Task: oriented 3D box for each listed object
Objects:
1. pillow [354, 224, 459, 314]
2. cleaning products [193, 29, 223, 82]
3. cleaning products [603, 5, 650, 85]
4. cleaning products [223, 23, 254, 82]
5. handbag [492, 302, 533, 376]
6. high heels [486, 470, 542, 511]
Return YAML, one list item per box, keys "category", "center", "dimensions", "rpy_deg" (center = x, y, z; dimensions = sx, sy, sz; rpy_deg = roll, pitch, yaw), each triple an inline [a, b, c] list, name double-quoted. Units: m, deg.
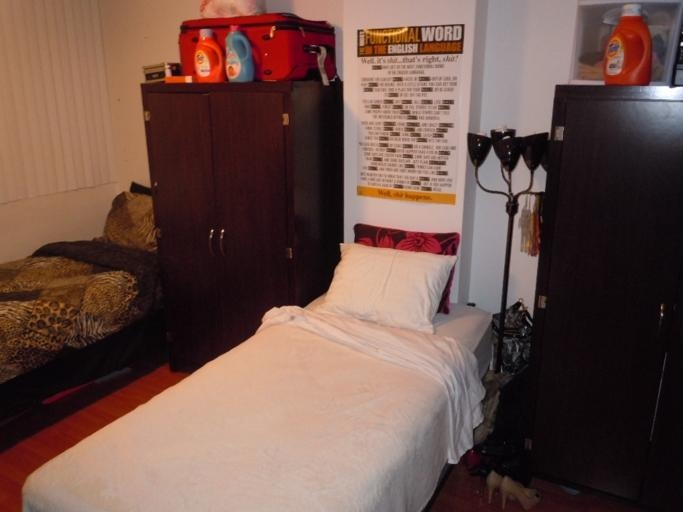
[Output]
- category: "pillow"
  center: [0.388, 0.088, 2.956]
  dimensions: [0.447, 0.350, 0.163]
  rpy_deg: [6, 9, 27]
- category: "cleaning products"
  center: [-0.821, -1.243, 3.145]
  dimensions: [0.210, 0.342, 0.150]
  rpy_deg: [16, 32, 20]
- category: "cleaning products"
  center: [1.353, -0.985, 2.368]
  dimensions: [0.198, 0.350, 0.126]
  rpy_deg: [12, 22, 27]
- category: "cleaning products"
  center: [-0.638, -1.216, 3.065]
  dimensions: [0.214, 0.319, 0.098]
  rpy_deg: [11, 21, 27]
- category: "handbag"
  center: [1.010, 0.470, 2.972]
  dimensions: [0.220, 0.550, 0.051]
  rpy_deg: [0, 28, 23]
- category: "high heels"
  center: [0.942, 1.242, 2.763]
  dimensions: [0.266, 0.190, 0.171]
  rpy_deg: [-10, 14, -35]
